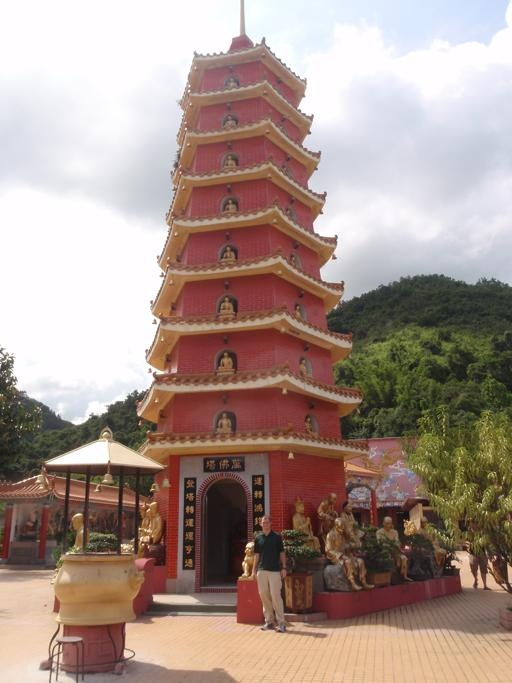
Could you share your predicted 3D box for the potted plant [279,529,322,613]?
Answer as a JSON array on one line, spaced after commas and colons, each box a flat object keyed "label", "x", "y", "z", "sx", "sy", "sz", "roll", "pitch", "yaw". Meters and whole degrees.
[{"label": "potted plant", "x": 0.821, "y": 4.379, "z": 9.950, "sx": 0.993, "sy": 1.673, "sz": 0.755, "roll": 9, "pitch": -30, "yaw": -18}]

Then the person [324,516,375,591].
[{"label": "person", "x": 1.997, "y": 4.504, "z": 10.879, "sx": 0.873, "sy": 1.331, "sz": 1.762, "roll": -8, "pitch": -19, "yaw": 22}]

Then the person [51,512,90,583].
[{"label": "person", "x": -3.791, "y": 4.395, "z": 10.832, "sx": 0.870, "sy": 1.354, "sz": 0.781, "roll": -6, "pitch": -14, "yaw": -3}]

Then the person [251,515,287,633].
[{"label": "person", "x": 0.211, "y": 3.775, "z": 8.264, "sx": 0.506, "sy": 1.777, "sz": 0.814, "roll": -1, "pitch": -18, "yaw": 3}]

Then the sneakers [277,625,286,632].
[{"label": "sneakers", "x": 0.413, "y": 4.605, "z": 8.181, "sx": 0.106, "sy": 0.063, "sz": 0.129, "roll": 14, "pitch": -31, "yaw": -8}]

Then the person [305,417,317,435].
[{"label": "person", "x": 1.740, "y": 2.635, "z": 16.280, "sx": 0.203, "sy": 0.607, "sz": 0.769, "roll": -7, "pitch": -19, "yaw": 20}]

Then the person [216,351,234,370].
[{"label": "person", "x": -0.937, "y": 0.631, "z": 16.160, "sx": 0.583, "sy": 0.703, "sz": 0.550, "roll": -5, "pitch": -43, "yaw": 4}]

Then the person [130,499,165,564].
[{"label": "person", "x": -2.839, "y": 5.333, "z": 14.179, "sx": 0.656, "sy": 1.578, "sz": 0.960, "roll": 3, "pitch": -18, "yaw": -9}]

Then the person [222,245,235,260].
[{"label": "person", "x": -0.943, "y": -3.085, "z": 17.603, "sx": 0.533, "sy": 0.831, "sz": 0.451, "roll": -2, "pitch": -57, "yaw": 2}]
